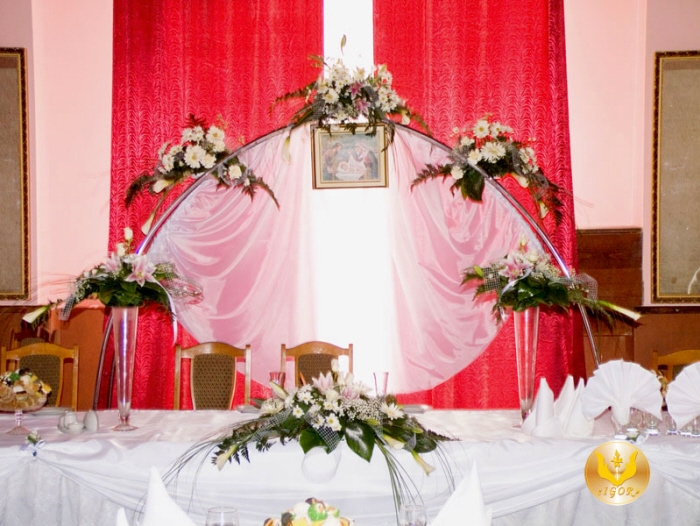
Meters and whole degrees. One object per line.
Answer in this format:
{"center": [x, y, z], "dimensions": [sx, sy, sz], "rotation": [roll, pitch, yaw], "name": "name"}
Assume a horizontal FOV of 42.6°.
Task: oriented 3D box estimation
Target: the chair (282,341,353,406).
{"center": [-0.252, 0.793, 6.476], "dimensions": [0.364, 0.745, 0.437], "rotation": [0, -9, 0], "name": "chair"}

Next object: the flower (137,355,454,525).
{"center": [-0.173, 0.837, 4.405], "dimensions": [1.334, 0.533, 0.423], "rotation": [-3, -1, 9], "name": "flower"}

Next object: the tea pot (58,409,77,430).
{"center": [-1.514, 0.826, 4.826], "dimensions": [0.068, 0.116, 0.113], "rotation": [8, -14, -18], "name": "tea pot"}

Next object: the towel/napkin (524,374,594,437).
{"center": [1.108, 0.710, 4.715], "dimensions": [0.270, 0.325, 0.320], "rotation": [2, -6, 19], "name": "towel/napkin"}

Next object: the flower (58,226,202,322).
{"center": [-1.206, 0.102, 5.184], "dimensions": [0.539, 0.407, 0.580], "rotation": [-2, -4, 29], "name": "flower"}

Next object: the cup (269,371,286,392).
{"center": [-0.370, 0.611, 4.653], "dimensions": [0.072, 0.089, 0.080], "rotation": [-2, 2, -22], "name": "cup"}

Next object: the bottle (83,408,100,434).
{"center": [-1.378, 0.833, 4.834], "dimensions": [0.092, 0.161, 0.095], "rotation": [1, -9, 0], "name": "bottle"}

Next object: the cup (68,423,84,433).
{"center": [-1.460, 0.869, 4.762], "dimensions": [0.044, 0.043, 0.059], "rotation": [0, -8, 0], "name": "cup"}

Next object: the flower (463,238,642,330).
{"center": [1.153, 0.287, 5.112], "dimensions": [0.823, 0.487, 0.644], "rotation": [6, -9, -28], "name": "flower"}

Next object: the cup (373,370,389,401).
{"center": [0.153, 0.630, 4.580], "dimensions": [0.092, 0.162, 0.094], "rotation": [1, -4, 0], "name": "cup"}

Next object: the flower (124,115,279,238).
{"center": [-1.002, -0.625, 5.968], "dimensions": [0.861, 0.888, 1.261], "rotation": [-2, -2, -7], "name": "flower"}

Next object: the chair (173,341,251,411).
{"center": [-0.982, 0.776, 6.497], "dimensions": [0.461, 0.934, 0.572], "rotation": [1, -4, 0], "name": "chair"}
